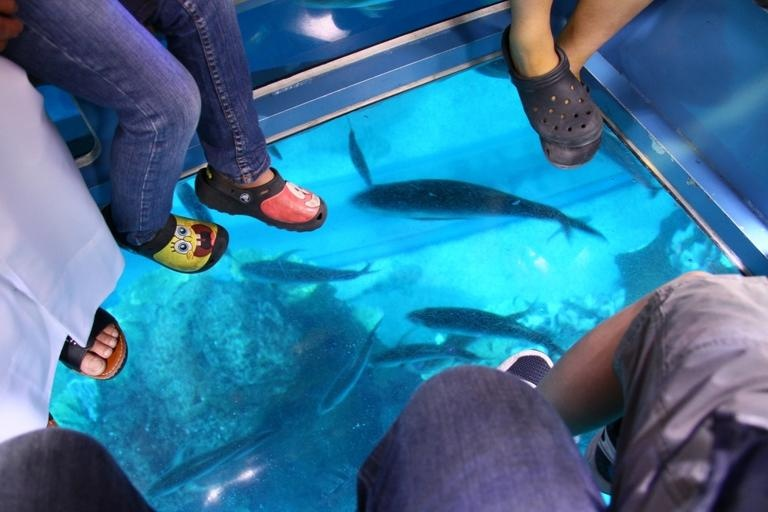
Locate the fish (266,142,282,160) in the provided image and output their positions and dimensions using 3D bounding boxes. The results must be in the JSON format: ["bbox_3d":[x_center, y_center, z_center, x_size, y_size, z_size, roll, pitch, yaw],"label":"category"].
[{"bbox_3d":[-0.358,-0.340,1.759,0.055,0.013,0.033,45,80,-1],"label":"fish"}]

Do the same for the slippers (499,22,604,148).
[{"bbox_3d":[0.552,-0.491,1.794,0.214,0.212,0.477,-24,102,22],"label":"slippers"}]

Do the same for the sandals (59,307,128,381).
[{"bbox_3d":[-0.732,0.256,1.460,0.221,0.062,0.118,15,89,-12],"label":"sandals"}]

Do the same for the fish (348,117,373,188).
[{"bbox_3d":[-0.083,-0.325,1.777,0.044,0.030,0.272,-6,72,-8],"label":"fish"}]

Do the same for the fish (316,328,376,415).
[{"bbox_3d":[-0.083,0.314,1.571,0.068,0.047,0.329,20,74,34],"label":"fish"}]

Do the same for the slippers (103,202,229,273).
[{"bbox_3d":[-0.640,-0.040,1.595,0.296,0.119,0.171,15,78,-17],"label":"slippers"}]

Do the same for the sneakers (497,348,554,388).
[{"bbox_3d":[0.371,0.292,1.389,0.147,0.057,0.088,-35,70,-5],"label":"sneakers"}]
